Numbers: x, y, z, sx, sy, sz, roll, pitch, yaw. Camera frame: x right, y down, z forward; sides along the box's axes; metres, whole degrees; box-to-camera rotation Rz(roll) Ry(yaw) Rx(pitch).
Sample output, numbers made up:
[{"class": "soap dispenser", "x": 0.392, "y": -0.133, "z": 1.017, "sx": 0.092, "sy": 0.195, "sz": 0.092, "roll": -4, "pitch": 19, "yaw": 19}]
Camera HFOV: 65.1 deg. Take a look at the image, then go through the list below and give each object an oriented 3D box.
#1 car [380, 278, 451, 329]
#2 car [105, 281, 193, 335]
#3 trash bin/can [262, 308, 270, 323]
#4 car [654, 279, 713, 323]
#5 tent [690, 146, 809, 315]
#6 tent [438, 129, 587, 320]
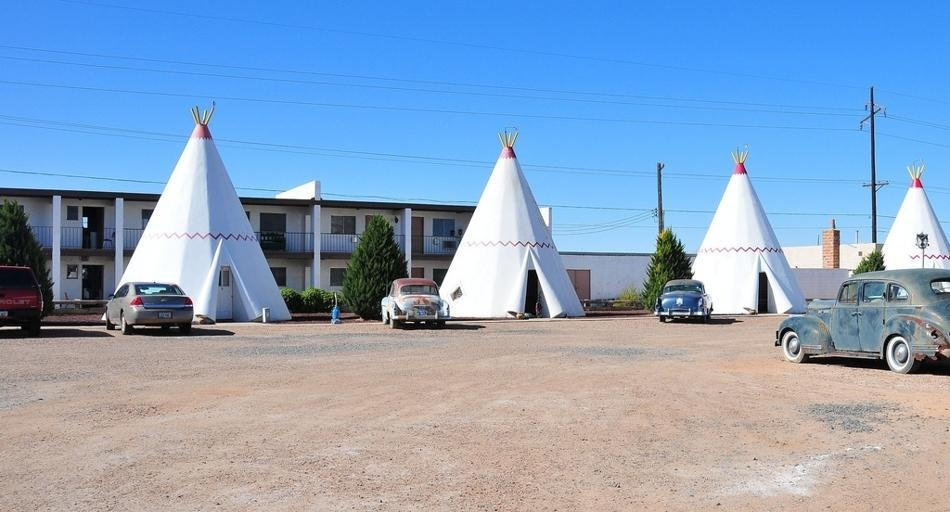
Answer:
[{"class": "car", "x": -2.042, "y": 1.680, "z": 25.970, "sx": 2.163, "sy": 1.706, "sz": 1.813, "roll": 0, "pitch": 8, "yaw": -4}, {"class": "car", "x": -10.060, "y": 1.558, "z": 22.943, "sx": 1.653, "sy": 1.497, "sz": 2.754, "roll": -6, "pitch": 10, "yaw": -39}, {"class": "trash bin/can", "x": -8.096, "y": 2.286, "z": 28.852, "sx": 0.297, "sy": 0.514, "sz": 0.732, "roll": -2, "pitch": 8, "yaw": -17}, {"class": "car", "x": 8.384, "y": 1.858, "z": 30.245, "sx": 1.765, "sy": 1.102, "sz": 3.426, "roll": -1, "pitch": -5, "yaw": 12}, {"class": "tent", "x": 13.481, "y": -0.768, "z": 37.016, "sx": 4.655, "sy": 7.017, "sz": 3.496, "roll": 4, "pitch": 9, "yaw": 24}, {"class": "tent", "x": 1.416, "y": -0.863, "z": 33.080, "sx": 5.346, "sy": 6.772, "sz": 3.766, "roll": 0, "pitch": 9, "yaw": 0}]
